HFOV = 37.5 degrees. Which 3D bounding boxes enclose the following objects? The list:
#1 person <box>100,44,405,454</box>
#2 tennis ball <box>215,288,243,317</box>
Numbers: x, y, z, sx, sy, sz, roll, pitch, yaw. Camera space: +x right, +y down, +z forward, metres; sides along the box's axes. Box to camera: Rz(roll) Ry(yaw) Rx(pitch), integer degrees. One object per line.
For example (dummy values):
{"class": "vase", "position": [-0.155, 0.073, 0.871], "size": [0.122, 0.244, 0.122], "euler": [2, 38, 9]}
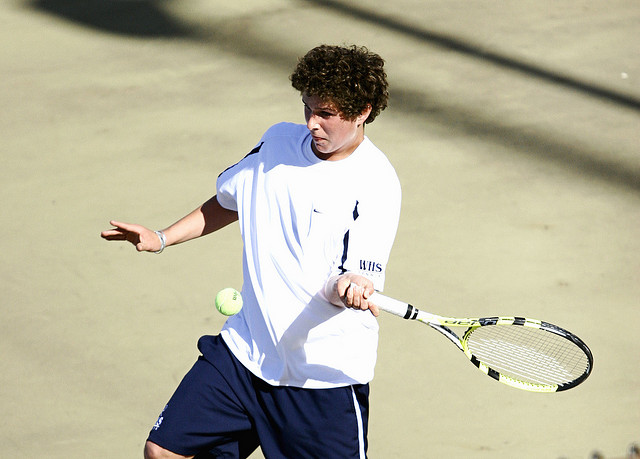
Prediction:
{"class": "person", "position": [-0.242, 0.233, 6.694], "size": [1.571, 2.832, 1.096], "euler": [3, 22, 1]}
{"class": "tennis ball", "position": [-0.703, 0.572, 7.394], "size": [0.192, 0.192, 0.189], "euler": [38, 16, -13]}
